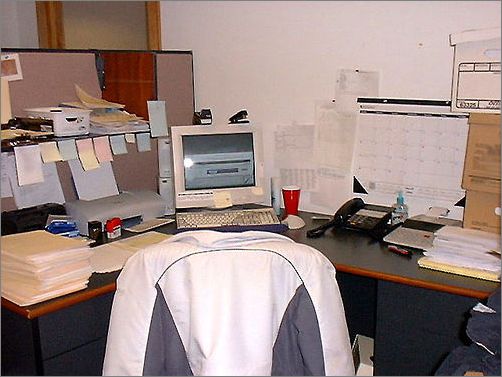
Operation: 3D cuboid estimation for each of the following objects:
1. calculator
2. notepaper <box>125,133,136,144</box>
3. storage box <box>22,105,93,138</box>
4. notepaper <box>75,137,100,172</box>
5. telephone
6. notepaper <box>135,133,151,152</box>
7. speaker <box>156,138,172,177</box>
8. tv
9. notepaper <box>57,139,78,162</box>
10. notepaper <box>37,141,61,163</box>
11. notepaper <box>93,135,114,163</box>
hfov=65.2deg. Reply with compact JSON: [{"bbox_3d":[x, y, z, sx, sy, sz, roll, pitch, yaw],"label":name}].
[{"bbox_3d":[0.830,0.198,1.979,0.240,0.142,0.300,10,17,25],"label":"calculator"},{"bbox_3d":[-0.704,-0.294,2.273,0.044,0.064,0.050,5,50,-6],"label":"notepaper"},{"bbox_3d":[-1.023,-0.335,2.052,0.260,0.101,0.174,7,11,37],"label":"storage box"},{"bbox_3d":[-0.875,-0.183,2.097,0.041,0.168,0.094,13,30,37],"label":"notepaper"},{"bbox_3d":[0.561,0.097,2.152,0.379,0.206,0.444,5,14,18],"label":"telephone"},{"bbox_3d":[-0.648,-0.291,2.393,0.086,0.121,0.109,-6,40,-15],"label":"notepaper"},{"bbox_3d":[-0.527,-0.183,2.391,0.084,0.240,0.148,-5,15,-13],"label":"speaker"},{"bbox_3d":[-0.155,-0.143,2.554,0.759,0.731,0.431,-3,8,-10],"label":"tv"},{"bbox_3d":[-0.923,-0.200,1.965,0.011,0.099,0.086,0,17,38],"label":"notepaper"},{"bbox_3d":[-1.007,-0.183,1.922,0.022,0.092,0.092,-1,9,33],"label":"notepaper"},{"bbox_3d":[-0.818,-0.226,2.157,0.015,0.139,0.102,-3,19,36],"label":"notepaper"}]
